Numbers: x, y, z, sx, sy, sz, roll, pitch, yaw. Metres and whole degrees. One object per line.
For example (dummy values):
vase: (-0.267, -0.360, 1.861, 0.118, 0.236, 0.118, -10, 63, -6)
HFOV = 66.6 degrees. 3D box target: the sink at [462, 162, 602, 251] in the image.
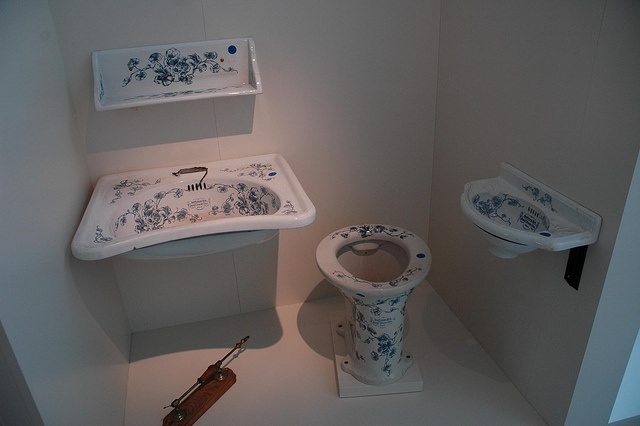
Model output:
sink: (0.803, 0.047, 2.038, 0.354, 0.274, 0.555, -12, 30, -13)
